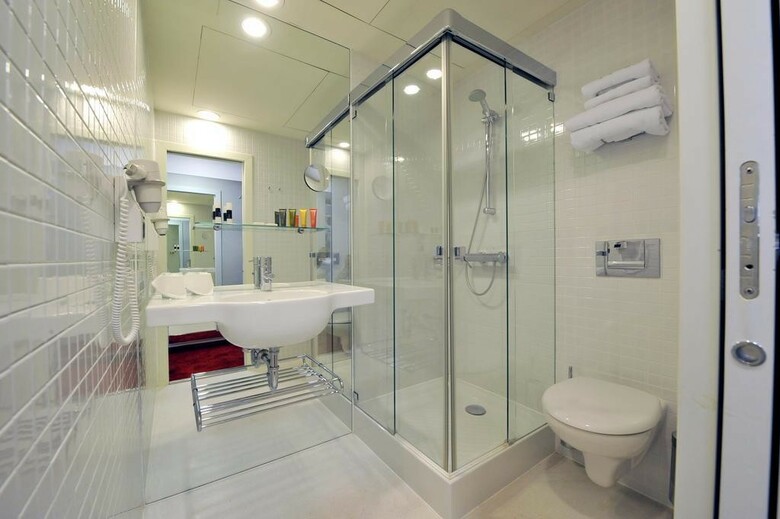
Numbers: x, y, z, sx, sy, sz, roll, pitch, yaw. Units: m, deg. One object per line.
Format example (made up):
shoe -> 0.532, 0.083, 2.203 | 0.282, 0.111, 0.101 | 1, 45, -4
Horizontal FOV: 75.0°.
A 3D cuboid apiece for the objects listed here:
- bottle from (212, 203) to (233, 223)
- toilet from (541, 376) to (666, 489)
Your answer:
bottle -> -0.916, -0.252, 2.780 | 0.097, 0.119, 0.094 | 0, 0, 0
toilet -> 1.055, 0.749, 2.496 | 0.509, 0.402, 0.533 | 8, 12, 43
